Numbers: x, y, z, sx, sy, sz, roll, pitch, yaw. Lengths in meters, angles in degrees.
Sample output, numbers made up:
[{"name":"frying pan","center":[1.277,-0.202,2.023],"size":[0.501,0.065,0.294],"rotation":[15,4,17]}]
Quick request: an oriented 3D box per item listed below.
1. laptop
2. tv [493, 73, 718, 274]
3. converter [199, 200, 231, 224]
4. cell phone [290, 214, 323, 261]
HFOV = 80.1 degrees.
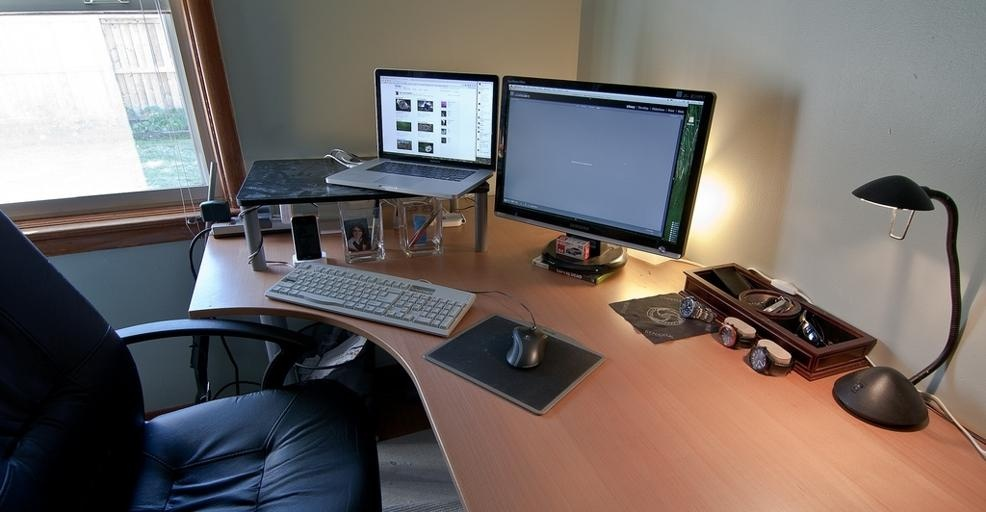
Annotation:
[{"name":"laptop","center":[-0.348,-0.509,2.387],"size":[0.655,0.401,0.382],"rotation":[11,30,26]},{"name":"tv","center":[0.442,-0.319,2.279],"size":[0.733,0.561,0.317],"rotation":[19,33,27]},{"name":"converter","center":[-1.162,-0.182,2.450],"size":[0.119,0.073,0.059],"rotation":[1,22,12]},{"name":"cell phone","center":[-0.748,-0.071,2.362],"size":[0.127,0.187,0.020],"rotation":[-7,1,18]}]
